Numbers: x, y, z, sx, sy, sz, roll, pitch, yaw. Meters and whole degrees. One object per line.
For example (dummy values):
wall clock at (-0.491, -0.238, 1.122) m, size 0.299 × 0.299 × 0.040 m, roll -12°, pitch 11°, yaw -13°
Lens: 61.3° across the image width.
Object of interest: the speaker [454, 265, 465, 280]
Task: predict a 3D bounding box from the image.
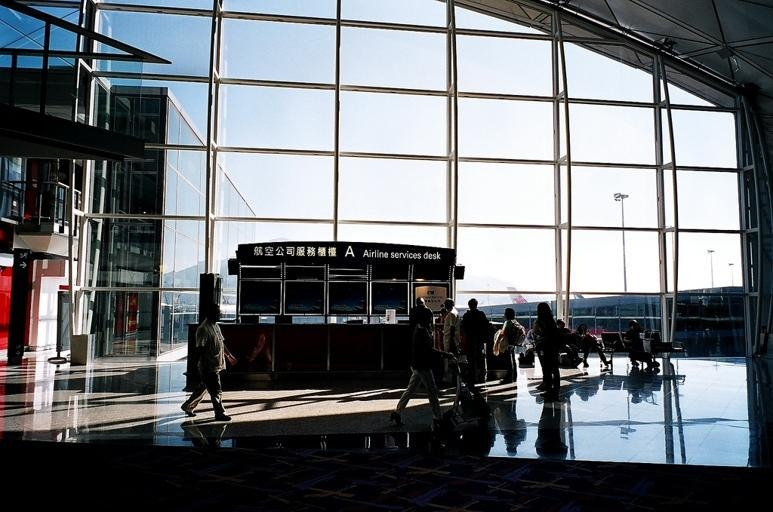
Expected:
speaker at (2.277, 0.487, 20.430) m, size 0.221 × 0.447 × 0.550 m, roll -8°, pitch -8°, yaw 44°

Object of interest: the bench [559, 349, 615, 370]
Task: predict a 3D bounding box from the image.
bench at (6.451, 3.403, 21.233) m, size 1.732 × 0.361 × 1.554 m, roll 2°, pitch -3°, yaw -45°

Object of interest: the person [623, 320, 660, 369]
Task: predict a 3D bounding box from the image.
person at (8.341, 2.920, 21.454) m, size 0.899 × 1.558 × 1.170 m, roll -5°, pitch -7°, yaw 27°

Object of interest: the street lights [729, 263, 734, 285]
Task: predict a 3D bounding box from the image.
street lights at (13.393, 0.667, 25.327) m, size 0.214 × 0.886 × 0.350 m, roll -5°, pitch -7°, yaw 27°

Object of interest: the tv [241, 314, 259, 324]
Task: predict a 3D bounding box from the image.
tv at (-3.982, 1.856, 18.969) m, size 0.516 × 0.225 × 0.599 m, roll -1°, pitch -5°, yaw -8°

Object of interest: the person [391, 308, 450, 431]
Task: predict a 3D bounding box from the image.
person at (0.656, 2.371, 14.334) m, size 1.065 × 2.559 × 1.346 m, roll -2°, pitch -6°, yaw 0°

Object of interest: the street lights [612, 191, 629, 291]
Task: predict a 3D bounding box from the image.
street lights at (8.863, -0.564, 24.382) m, size 0.405 × 3.782 × 0.559 m, roll -6°, pitch -8°, yaw 35°

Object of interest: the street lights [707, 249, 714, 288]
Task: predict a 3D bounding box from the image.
street lights at (12.501, 0.456, 25.087) m, size 0.273 × 1.458 × 0.555 m, roll -5°, pitch -7°, yaw 26°

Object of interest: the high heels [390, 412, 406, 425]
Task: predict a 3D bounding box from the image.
high heels at (0.219, 3.549, 14.012) m, size 0.246 × 0.169 × 0.134 m, roll 25°, pitch 24°, yaw 28°

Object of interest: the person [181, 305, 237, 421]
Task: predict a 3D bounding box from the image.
person at (-4.019, 2.396, 14.568) m, size 1.044 × 2.542 × 0.889 m, roll 0°, pitch -7°, yaw -18°

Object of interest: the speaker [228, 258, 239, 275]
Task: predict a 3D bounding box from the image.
speaker at (-4.578, 0.321, 19.366) m, size 0.283 × 0.522 × 0.574 m, roll 1°, pitch -6°, yaw -21°

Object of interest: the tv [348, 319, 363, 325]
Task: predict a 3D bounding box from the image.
tv at (-0.918, 1.942, 19.006) m, size 0.509 × 0.151 × 0.654 m, roll -1°, pitch -5°, yaw 0°

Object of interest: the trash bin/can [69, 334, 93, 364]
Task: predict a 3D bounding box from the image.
trash bin/can at (-9.815, 3.028, 20.918) m, size 0.530 × 0.850 × 0.951 m, roll -1°, pitch -4°, yaw -12°

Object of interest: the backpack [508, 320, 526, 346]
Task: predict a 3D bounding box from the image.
backpack at (3.433, 2.081, 17.476) m, size 0.595 × 0.706 × 0.228 m, roll 4°, pitch -8°, yaw -42°
